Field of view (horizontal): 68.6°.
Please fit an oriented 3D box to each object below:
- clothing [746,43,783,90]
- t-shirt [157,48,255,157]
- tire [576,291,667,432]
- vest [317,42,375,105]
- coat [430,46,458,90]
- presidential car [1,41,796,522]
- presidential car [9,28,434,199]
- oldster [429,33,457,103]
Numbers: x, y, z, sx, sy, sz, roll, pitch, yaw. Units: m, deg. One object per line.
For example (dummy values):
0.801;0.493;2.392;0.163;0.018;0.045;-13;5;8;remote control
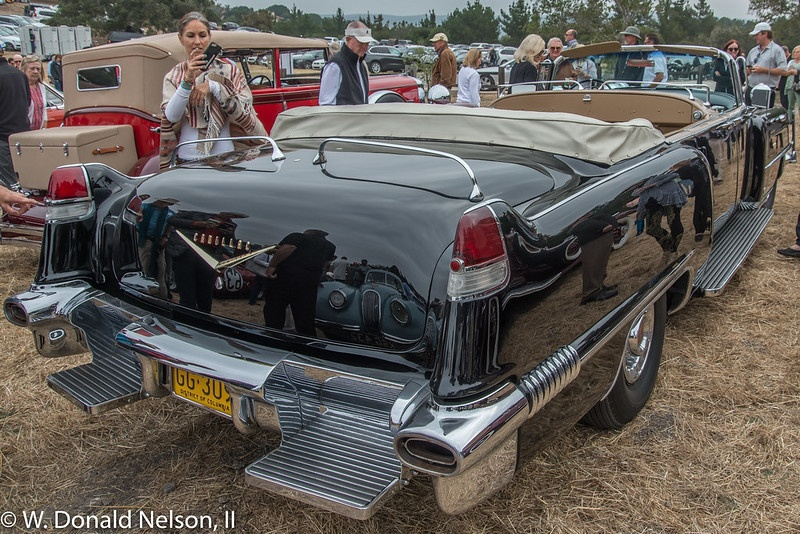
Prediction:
7.265;-4.102;11.870;0.459;0.812;0.768;-6;18;-35;clothing
-1.552;-1.317;4.894;0.947;0.911;0.485;-8;5;-15;t-shirt
1.267;0.557;3.415;0.326;0.974;0.871;7;4;37;tire
-0.615;-2.239;6.761;0.446;0.759;0.812;20;36;20;vest
0.832;-3.848;11.351;0.477;0.806;0.951;-2;19;-2;coat
0.770;-0.243;3.920;2.565;1.535;4.725;15;28;38;presidential car
-2.530;-2.288;7.710;4.676;2.120;2.586;-21;29;-40;presidential car
0.866;-3.617;11.430;0.497;1.798;0.721;4;30;13;oldster
